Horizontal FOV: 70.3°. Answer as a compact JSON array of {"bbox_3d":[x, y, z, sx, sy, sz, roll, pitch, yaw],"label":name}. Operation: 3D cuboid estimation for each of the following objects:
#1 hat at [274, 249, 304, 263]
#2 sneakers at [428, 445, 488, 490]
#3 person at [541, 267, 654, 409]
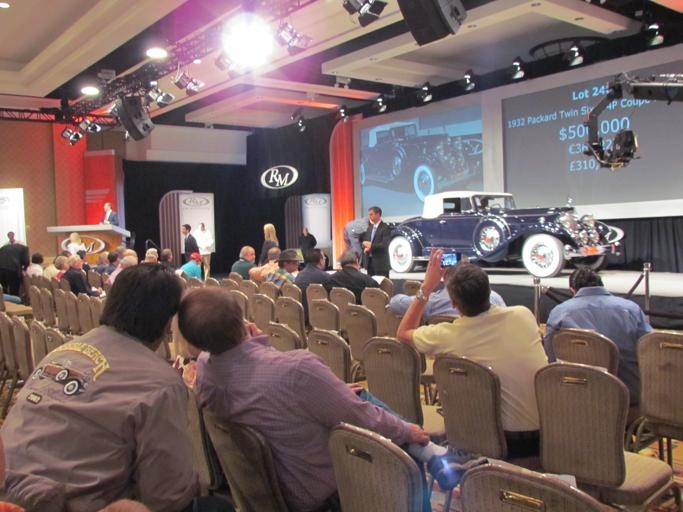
[{"bbox_3d":[-0.985,-0.004,9.110,0.454,0.190,0.427,0,-2,-6],"label":"hat"},{"bbox_3d":[0.639,1.073,2.627,0.284,0.135,0.107,-14,5,20],"label":"sneakers"},{"bbox_3d":[2.011,0.690,3.780,0.744,1.203,0.596,-7,-6,21],"label":"person"}]
